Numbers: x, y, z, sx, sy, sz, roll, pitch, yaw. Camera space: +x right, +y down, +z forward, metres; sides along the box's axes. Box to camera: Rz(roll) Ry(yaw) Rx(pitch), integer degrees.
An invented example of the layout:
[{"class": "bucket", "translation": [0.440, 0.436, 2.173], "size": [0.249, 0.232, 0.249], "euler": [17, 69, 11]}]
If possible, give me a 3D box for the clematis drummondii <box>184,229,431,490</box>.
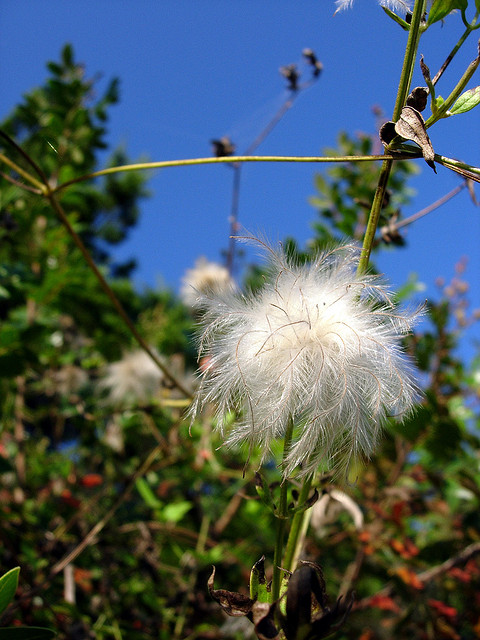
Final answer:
[{"class": "clematis drummondii", "translation": [0.149, 0.086, 2.192], "size": [0.654, 0.759, 0.394], "euler": [3, -65, -19]}]
